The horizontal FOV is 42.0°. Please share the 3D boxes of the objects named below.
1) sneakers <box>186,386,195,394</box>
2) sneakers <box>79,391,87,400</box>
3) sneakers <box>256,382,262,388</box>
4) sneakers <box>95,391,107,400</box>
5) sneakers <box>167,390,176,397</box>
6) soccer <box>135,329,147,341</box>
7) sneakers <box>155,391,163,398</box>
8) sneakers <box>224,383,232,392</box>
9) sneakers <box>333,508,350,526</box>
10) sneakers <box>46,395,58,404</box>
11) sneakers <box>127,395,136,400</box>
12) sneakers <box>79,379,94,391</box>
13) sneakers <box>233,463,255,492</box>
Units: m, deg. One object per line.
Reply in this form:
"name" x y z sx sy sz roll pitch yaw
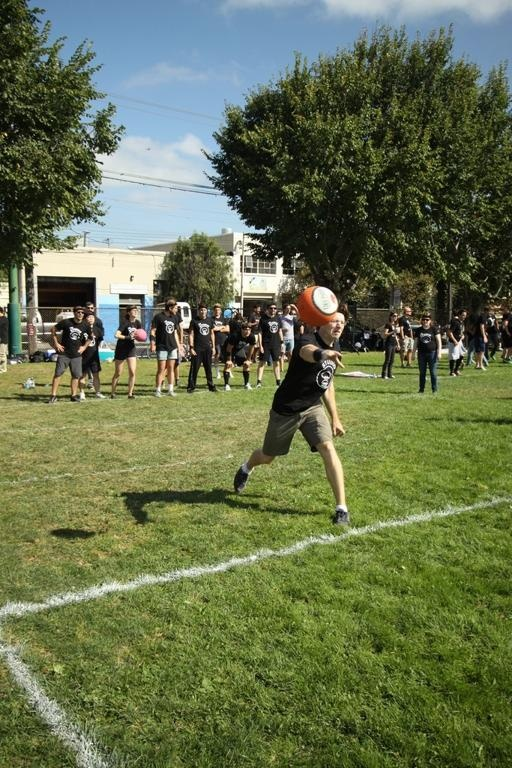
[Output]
"sneakers" -1.350 0.131 13.888 0.118 0.132 0.143 2 -2 -10
"sneakers" -3.311 0.222 12.597 0.127 0.167 0.170 0 4 7
"sneakers" 0.073 0.021 14.983 0.100 0.120 0.265 1 8 0
"sneakers" -3.002 0.214 12.863 0.209 0.140 0.109 8 11 -7
"sneakers" -1.663 0.188 13.270 0.097 0.153 0.154 0 0 -21
"soccer" -2.191 -0.906 12.695 0.231 0.226 0.272 -5 18 -2
"sneakers" -1.900 0.189 12.999 0.162 0.122 0.202 10 2 -7
"sneakers" -0.606 0.077 14.428 0.152 0.150 0.138 13 11 35
"sneakers" 0.680 1.052 5.263 0.070 0.079 0.188 2 7 12
"sneakers" -3.723 0.286 12.165 0.122 0.151 0.354 0 -4 5
"sneakers" -2.407 0.249 12.854 0.163 0.113 0.056 -3 -2 31
"sneakers" -3.518 0.018 13.827 0.213 0.284 0.621 1 3 -33
"sneakers" -0.135 0.868 6.168 0.115 0.332 0.147 10 23 -28
